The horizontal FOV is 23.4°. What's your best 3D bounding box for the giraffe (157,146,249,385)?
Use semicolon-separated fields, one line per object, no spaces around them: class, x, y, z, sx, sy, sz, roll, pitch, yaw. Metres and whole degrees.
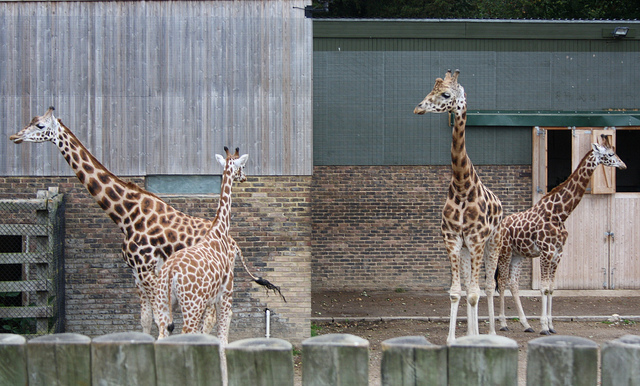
giraffe;-2.704;1.729;36.018;2.094;5.626;0.807;1;-5;-31

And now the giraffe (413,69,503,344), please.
giraffe;3.532;0.368;37.513;1.209;6.548;2.396;-4;-5;31
